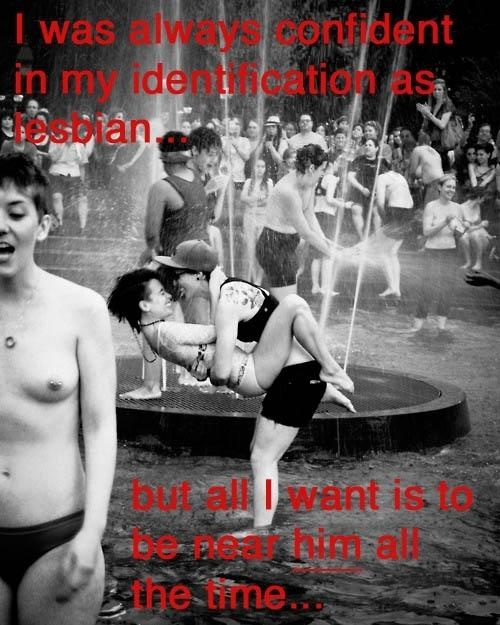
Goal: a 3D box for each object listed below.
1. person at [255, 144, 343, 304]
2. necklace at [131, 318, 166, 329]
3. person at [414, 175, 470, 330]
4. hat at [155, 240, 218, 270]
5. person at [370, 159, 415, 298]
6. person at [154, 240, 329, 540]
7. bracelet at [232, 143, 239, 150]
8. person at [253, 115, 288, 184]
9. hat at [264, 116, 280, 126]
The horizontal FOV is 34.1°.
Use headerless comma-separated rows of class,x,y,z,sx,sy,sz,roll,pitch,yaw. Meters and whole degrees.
person,0.468,-0.922,7.858,0.714,2.067,0.644,9,46,9
necklace,-0.450,0.049,3.585,0.086,0.031,0.071,-9,-3,-28
person,2.266,-0.723,9.708,0.509,1.773,1.521,6,8,14
hat,-0.267,-0.240,3.559,0.196,0.122,0.142,1,7,0
person,1.834,-1.065,10.567,0.518,1.838,0.916,6,7,11
person,-0.042,0.296,3.568,0.713,1.149,0.407,10,9,35
bracelet,-0.194,-2.116,10.353,0.024,0.103,0.109,0,10,-36
person,0.268,-1.905,10.521,0.292,1.226,0.349,2,-1,30
hat,0.309,-2.549,10.873,0.208,0.136,0.325,-1,10,5
